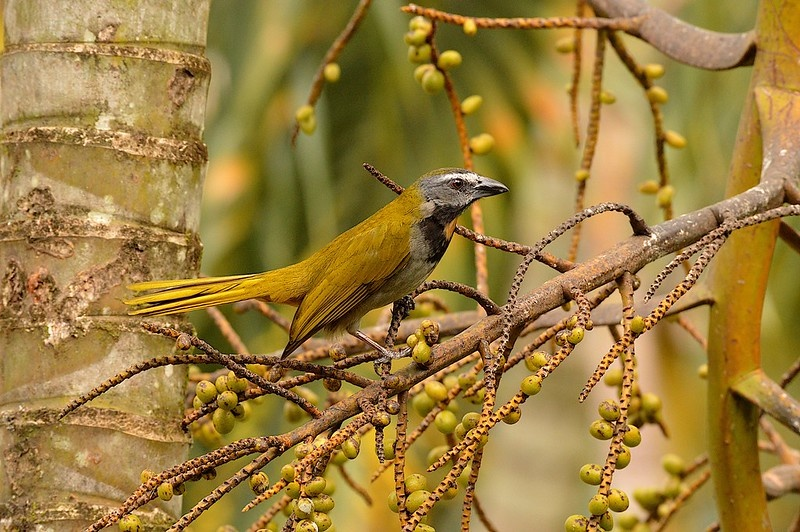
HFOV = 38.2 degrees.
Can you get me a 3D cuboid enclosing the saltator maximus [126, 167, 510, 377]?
[{"bbox_3d":[-0.402,-0.021,5.399,1.668,0.922,0.517,0,12,-5],"label":"saltator maximus"}]
